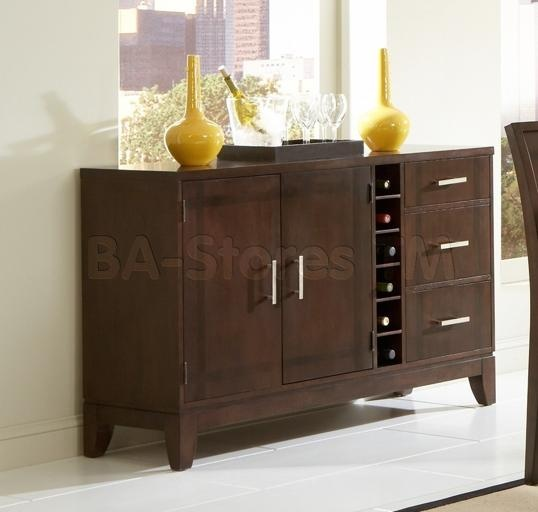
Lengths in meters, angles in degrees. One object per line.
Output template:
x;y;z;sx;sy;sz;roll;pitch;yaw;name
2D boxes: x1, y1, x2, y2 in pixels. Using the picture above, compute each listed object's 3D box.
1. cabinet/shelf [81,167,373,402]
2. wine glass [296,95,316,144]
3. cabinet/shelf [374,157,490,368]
-0.174;0.088;1.902;0.277;0.584;0.727;2;5;40;cabinet/shelf
0.139;-0.528;2.310;0.091;0.180;0.165;0;9;14;wine glass
0.663;0.021;2.438;0.661;0.827;0.170;-8;10;-33;cabinet/shelf
